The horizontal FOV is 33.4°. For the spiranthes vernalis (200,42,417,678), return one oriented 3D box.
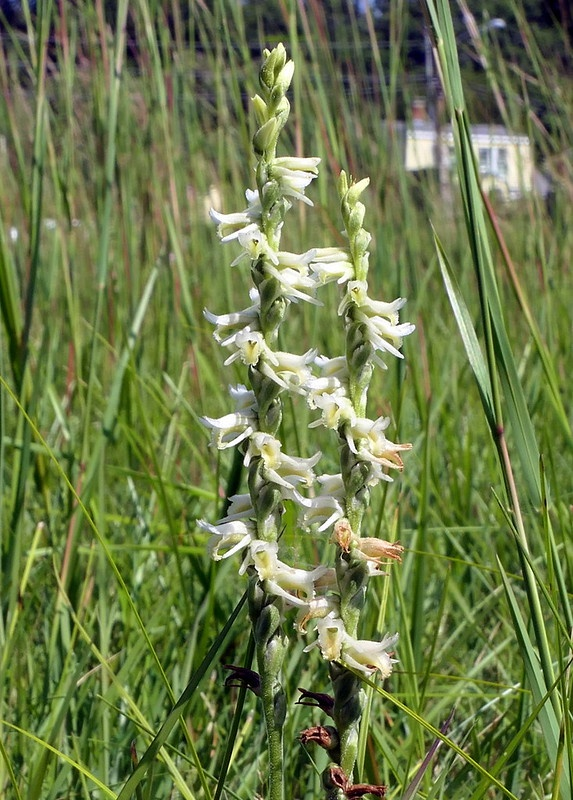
[{"bbox_3d":[0.023,-0.013,0.943,0.204,0.620,0.303,0,20,9],"label":"spiranthes vernalis"}]
